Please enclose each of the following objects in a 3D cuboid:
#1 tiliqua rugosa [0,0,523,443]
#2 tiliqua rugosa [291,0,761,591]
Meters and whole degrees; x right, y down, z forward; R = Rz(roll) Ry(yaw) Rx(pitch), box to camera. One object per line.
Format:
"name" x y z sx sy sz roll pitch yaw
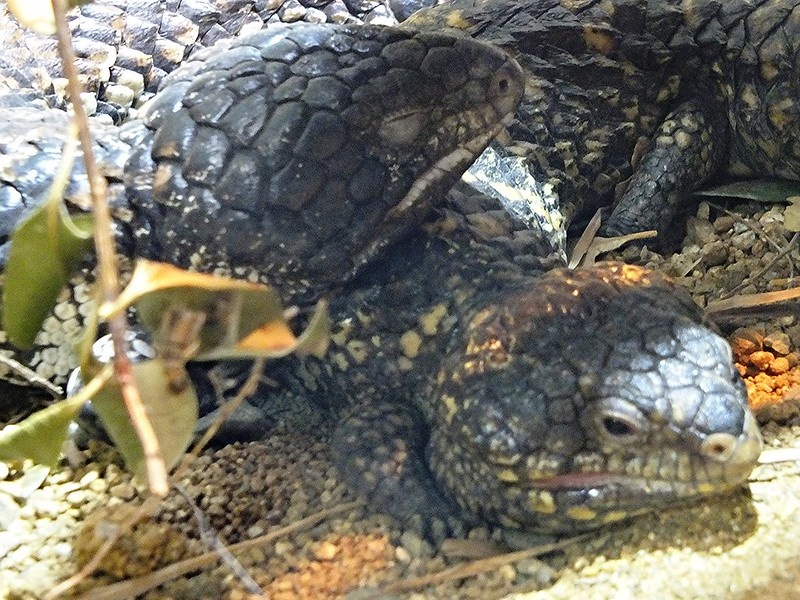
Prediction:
"tiliqua rugosa" -0.167 -0.236 1.559 0.593 0.445 0.359 21 27 7
"tiliqua rugosa" 0.131 0.074 1.705 0.762 0.268 0.886 -33 65 -11
